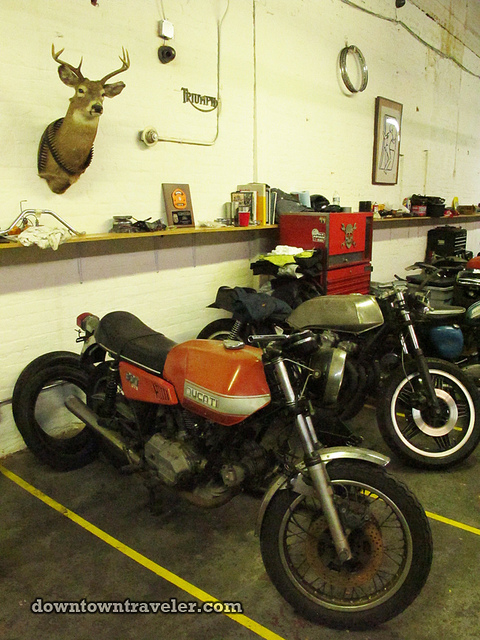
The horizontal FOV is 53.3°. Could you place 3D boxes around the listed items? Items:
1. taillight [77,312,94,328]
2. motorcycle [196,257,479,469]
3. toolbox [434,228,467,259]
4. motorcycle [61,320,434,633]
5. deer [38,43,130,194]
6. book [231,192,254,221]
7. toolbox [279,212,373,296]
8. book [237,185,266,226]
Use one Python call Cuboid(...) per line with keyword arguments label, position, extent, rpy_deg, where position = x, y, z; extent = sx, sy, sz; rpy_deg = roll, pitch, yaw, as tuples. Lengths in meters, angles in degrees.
Cuboid(label="taillight", position=(-0.813, 0.002, 2.515), extent=(0.048, 0.091, 0.068), rpy_deg=(39, 35, 22))
Cuboid(label="motorcycle", position=(0.267, 0.234, 2.563), extent=(1.731, 0.999, 0.876), rpy_deg=(10, 14, 31))
Cuboid(label="toolbox", position=(2.966, -1.090, 6.741), extent=(0.421, 0.346, 0.521), rpy_deg=(4, 14, 19))
Cuboid(label="motorcycle", position=(-0.128, 0.458, 2.042), extent=(1.856, 0.991, 0.692), rpy_deg=(14, 10, 43))
Cuboid(label="deer", position=(-0.848, -1.059, 2.636), extent=(0.359, 0.703, 0.420), rpy_deg=(8, 16, 32))
Cuboid(label="book", position=(0.020, -0.880, 3.726), extent=(0.178, 0.216, 0.132), rpy_deg=(0, 14, 6))
Cuboid(label="toolbox", position=(0.743, -0.506, 4.015), extent=(0.565, 0.821, 0.687), rpy_deg=(13, 25, 36))
Cuboid(label="book", position=(0.144, -0.941, 4.058), extent=(0.287, 0.480, 0.366), rpy_deg=(1, 8, 4))
